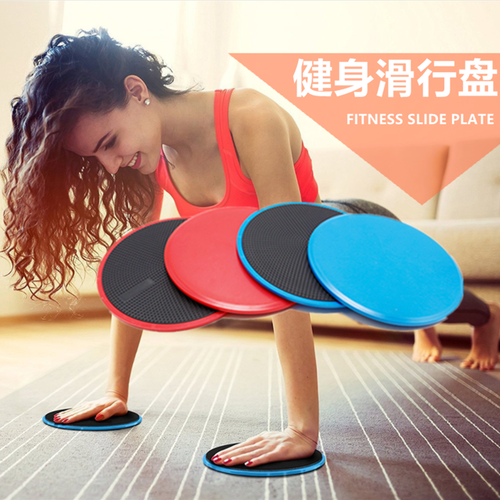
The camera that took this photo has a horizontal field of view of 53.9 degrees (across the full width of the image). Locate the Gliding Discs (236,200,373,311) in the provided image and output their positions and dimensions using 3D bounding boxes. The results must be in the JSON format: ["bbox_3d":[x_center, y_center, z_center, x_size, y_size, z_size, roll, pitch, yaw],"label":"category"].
[{"bbox_3d":[0.071,0.008,0.686,0.169,0.016,0.154,1,41,-1],"label":"Gliding Discs"}]

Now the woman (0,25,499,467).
[{"bbox_3d":[0.024,-0.073,1.494,0.762,0.638,1.351,-10,-8,44],"label":"woman"}]

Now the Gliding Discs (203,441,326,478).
[{"bbox_3d":[0.023,0.414,0.977,0.234,0.021,0.150,1,3,19],"label":"Gliding Discs"}]

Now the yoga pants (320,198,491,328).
[{"bbox_3d":[0.503,0.063,1.547,0.663,0.133,0.330,12,38,-19],"label":"yoga pants"}]

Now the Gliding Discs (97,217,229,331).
[{"bbox_3d":[-0.136,0.028,0.692,0.151,0.137,0.208,-1,3,-17],"label":"Gliding Discs"}]

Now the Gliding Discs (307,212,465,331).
[{"bbox_3d":[0.188,0.023,0.690,0.219,0.146,0.164,0,3,-10],"label":"Gliding Discs"}]
